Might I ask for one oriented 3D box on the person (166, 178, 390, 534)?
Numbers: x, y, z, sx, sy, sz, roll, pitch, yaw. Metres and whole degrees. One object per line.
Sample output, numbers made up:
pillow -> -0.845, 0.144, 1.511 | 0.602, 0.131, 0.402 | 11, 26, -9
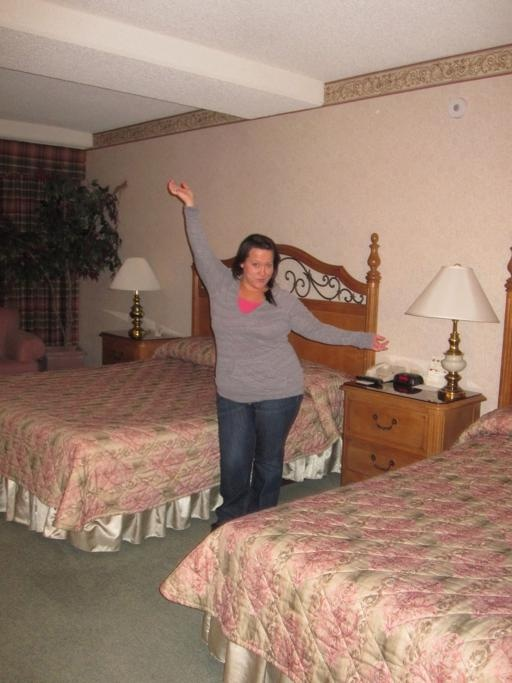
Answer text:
person -> 0.117, 0.196, 2.647 | 1.083, 1.733, 0.360 | 9, 19, 21

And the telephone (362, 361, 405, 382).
telephone -> 0.842, 0.194, 3.584 | 0.188, 0.062, 0.134 | -13, 14, -42
